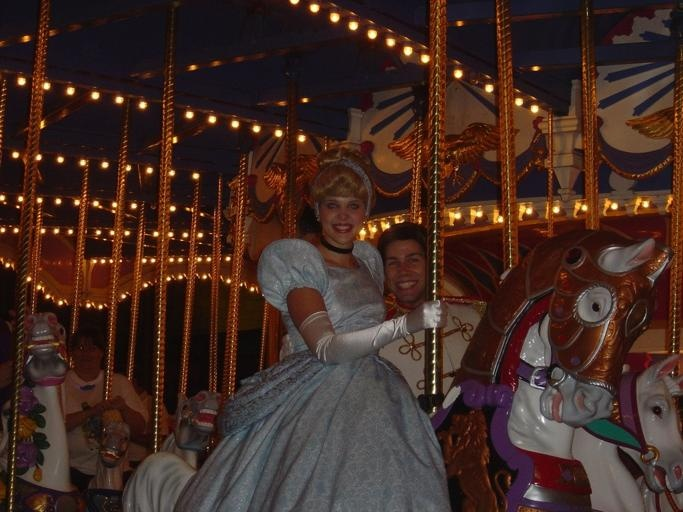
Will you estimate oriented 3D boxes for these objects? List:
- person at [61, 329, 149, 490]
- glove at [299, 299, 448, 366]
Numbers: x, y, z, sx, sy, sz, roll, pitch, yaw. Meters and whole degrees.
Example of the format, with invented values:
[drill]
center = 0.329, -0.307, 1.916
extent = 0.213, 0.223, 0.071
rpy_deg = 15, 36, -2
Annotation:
[person]
center = -2.414, 1.489, 8.490
extent = 0.837, 1.533, 2.179
rpy_deg = -2, -5, -15
[glove]
center = 0.129, 0.346, 3.766
extent = 0.441, 0.141, 0.347
rpy_deg = -18, 3, 11
